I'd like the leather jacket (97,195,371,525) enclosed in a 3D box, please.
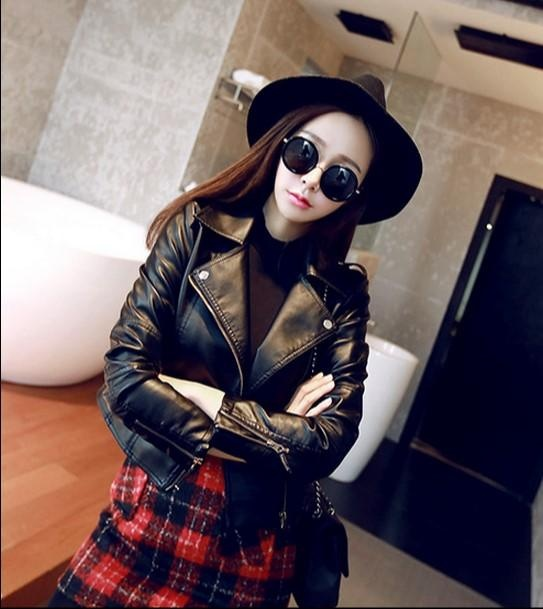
[{"bbox_3d":[-0.042,0.090,0.857,0.363,0.147,0.557,15,48,-10],"label":"leather jacket"}]

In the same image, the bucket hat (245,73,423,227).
[{"bbox_3d":[0.124,-0.251,0.844,0.200,0.118,0.234,22,-28,7],"label":"bucket hat"}]
